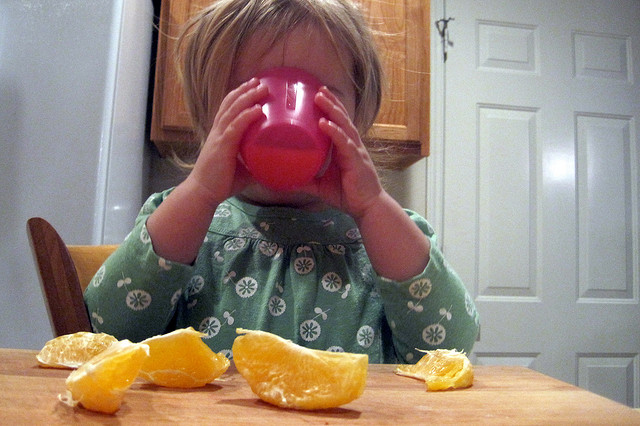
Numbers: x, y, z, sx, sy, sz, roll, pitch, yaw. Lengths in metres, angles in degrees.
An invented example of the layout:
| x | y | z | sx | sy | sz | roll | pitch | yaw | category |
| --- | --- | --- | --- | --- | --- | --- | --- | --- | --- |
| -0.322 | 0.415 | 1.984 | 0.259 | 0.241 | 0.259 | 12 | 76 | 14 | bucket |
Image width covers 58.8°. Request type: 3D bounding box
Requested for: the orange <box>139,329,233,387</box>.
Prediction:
| x | y | z | sx | sy | sz | roll | pitch | yaw | category |
| --- | --- | --- | --- | --- | --- | --- | --- | --- | --- |
| -0.259 | 0.264 | 1.081 | 0.118 | 0.072 | 0.109 | 16 | -13 | -6 | orange |

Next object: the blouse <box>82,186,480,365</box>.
| x | y | z | sx | sy | sz | roll | pitch | yaw | category |
| --- | --- | --- | --- | --- | --- | --- | --- | --- | --- |
| -0.097 | 0.241 | 1.537 | 0.965 | 0.673 | 0.626 | 1 | -25 | -5 | blouse |

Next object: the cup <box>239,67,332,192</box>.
| x | y | z | sx | sy | sz | roll | pitch | yaw | category |
| --- | --- | --- | --- | --- | --- | --- | --- | --- | --- |
| -0.071 | -0.170 | 1.265 | 0.217 | 0.224 | 0.159 | 16 | 38 | -6 | cup |

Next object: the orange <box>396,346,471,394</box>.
| x | y | z | sx | sy | sz | roll | pitch | yaw | category |
| --- | --- | --- | --- | --- | --- | --- | --- | --- | --- |
| 0.228 | 0.302 | 1.092 | 0.076 | 0.028 | 0.076 | 18 | 34 | 29 | orange |

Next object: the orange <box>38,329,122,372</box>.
| x | y | z | sx | sy | sz | roll | pitch | yaw | category |
| --- | --- | --- | --- | --- | --- | --- | --- | --- | --- |
| -0.469 | 0.275 | 1.104 | 0.118 | 0.084 | 0.035 | -9 | -37 | -19 | orange |

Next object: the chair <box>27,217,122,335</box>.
| x | y | z | sx | sy | sz | roll | pitch | yaw | category |
| --- | --- | --- | --- | --- | --- | --- | --- | --- | --- |
| -0.591 | 0.136 | 1.332 | 0.174 | 0.249 | 0.520 | 3 | 3 | -20 | chair |
